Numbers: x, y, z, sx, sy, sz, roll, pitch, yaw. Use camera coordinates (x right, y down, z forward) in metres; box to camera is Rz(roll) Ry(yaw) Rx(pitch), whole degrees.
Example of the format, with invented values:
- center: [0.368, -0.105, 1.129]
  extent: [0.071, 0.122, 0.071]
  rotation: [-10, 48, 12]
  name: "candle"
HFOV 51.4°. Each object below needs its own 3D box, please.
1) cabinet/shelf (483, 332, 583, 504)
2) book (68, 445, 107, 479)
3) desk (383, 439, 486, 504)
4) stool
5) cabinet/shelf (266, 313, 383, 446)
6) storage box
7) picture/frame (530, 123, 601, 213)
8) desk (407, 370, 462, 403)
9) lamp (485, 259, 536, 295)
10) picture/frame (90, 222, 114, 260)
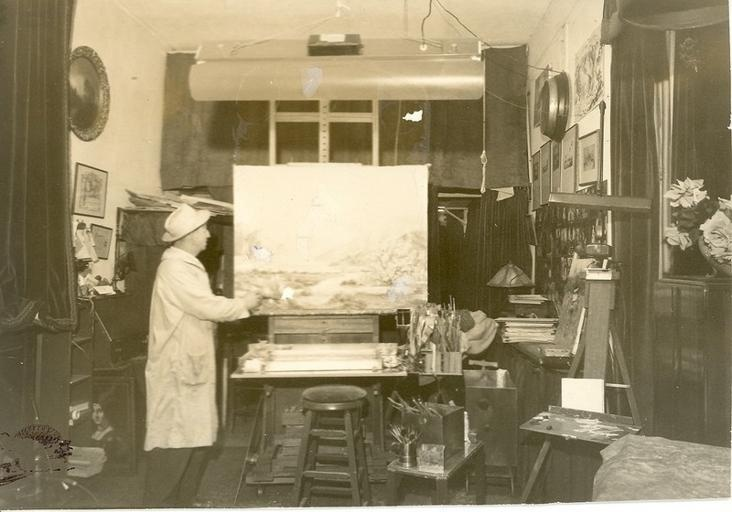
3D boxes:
- center: [1.023, 1.038, 4.955]
  extent: [0.597, 1.043, 0.270]
  rotation: [0, -2, 22]
  name: "cabinet/shelf"
- center: [-1.799, 1.326, 4.953]
  extent: [0.202, 0.145, 0.205]
  rotation: [1, -2, 10]
  name: "book"
- center: [0.436, 1.253, 4.697]
  extent: [0.406, 0.521, 0.562]
  rotation: [-2, -3, 20]
  name: "desk"
- center: [-0.199, 1.203, 4.794]
  extent: [0.468, 0.736, 0.327]
  rotation: [1, -1, 0]
  name: "stool"
- center: [-0.282, 0.836, 4.899]
  extent: [0.839, 0.797, 0.299]
  rotation: [0, 4, -1]
  name: "cabinet/shelf"
- center: [0.418, 1.037, 4.594]
  extent: [0.333, 0.320, 0.326]
  rotation: [-3, -9, -2]
  name: "storage box"
- center: [1.309, -0.589, 4.990]
  extent: [0.430, 0.567, 0.219]
  rotation: [1, -1, 12]
  name: "picture/frame"
- center: [0.478, 0.862, 4.962]
  extent: [0.285, 0.282, 0.227]
  rotation: [0, 3, 3]
  name: "desk"
- center: [0.966, 0.144, 5.034]
  extent: [0.208, 0.152, 0.226]
  rotation: [-4, 9, -27]
  name: "lamp"
- center: [-1.736, -0.094, 4.973]
  extent: [0.160, 0.216, 0.020]
  rotation: [5, 8, 9]
  name: "picture/frame"
